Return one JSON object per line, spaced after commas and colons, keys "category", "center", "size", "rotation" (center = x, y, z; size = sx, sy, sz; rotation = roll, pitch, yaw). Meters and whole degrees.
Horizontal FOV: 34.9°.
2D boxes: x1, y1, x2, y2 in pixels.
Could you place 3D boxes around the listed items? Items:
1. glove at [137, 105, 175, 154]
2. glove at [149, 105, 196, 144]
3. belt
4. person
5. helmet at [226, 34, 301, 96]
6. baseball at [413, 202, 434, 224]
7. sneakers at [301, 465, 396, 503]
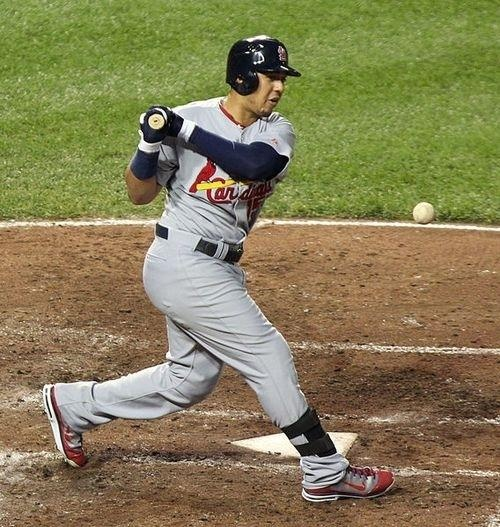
{"category": "glove", "center": [-0.415, -0.545, 3.229], "size": [0.150, 0.195, 0.088], "rotation": [30, 29, 7]}
{"category": "glove", "center": [-0.324, -0.562, 3.212], "size": [0.206, 0.088, 0.095], "rotation": [17, 48, -45]}
{"category": "belt", "center": [-0.225, -0.084, 3.404], "size": [0.304, 0.056, 0.220], "rotation": [12, -2, 7]}
{"category": "person", "center": [-0.083, 0.072, 3.395], "size": [1.209, 2.031, 1.006], "rotation": [25, 32, 33]}
{"category": "helmet", "center": [0.050, -0.857, 3.441], "size": [0.395, 0.189, 0.217], "rotation": [1, 21, 8]}
{"category": "baseball", "center": [1.595, -0.468, 7.273], "size": [0.255, 0.192, 0.229], "rotation": [2, 6, 31]}
{"category": "sneakers", "center": [0.448, 0.964, 3.588], "size": [0.507, 0.152, 0.142], "rotation": [-5, 19, -5]}
